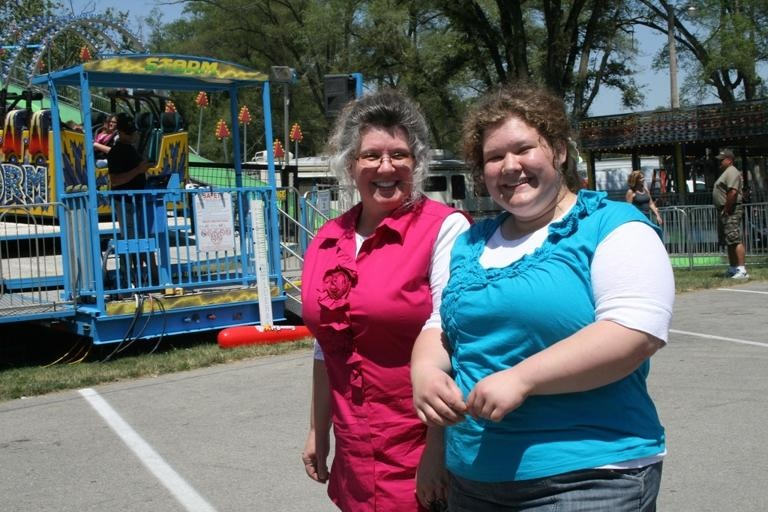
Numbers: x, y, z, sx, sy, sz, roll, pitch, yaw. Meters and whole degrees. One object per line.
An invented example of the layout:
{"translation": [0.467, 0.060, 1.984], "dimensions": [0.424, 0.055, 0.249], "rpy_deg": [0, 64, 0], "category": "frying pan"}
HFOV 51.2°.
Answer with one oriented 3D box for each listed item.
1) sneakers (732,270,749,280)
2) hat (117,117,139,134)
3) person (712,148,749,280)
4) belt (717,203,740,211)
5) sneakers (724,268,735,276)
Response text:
{"translation": [7.046, 0.397, 15.816], "dimensions": [0.145, 0.196, 0.444], "rpy_deg": [-3, -5, 44], "category": "sneakers"}
{"translation": [-3.710, -1.876, 11.480], "dimensions": [0.210, 0.270, 0.276], "rpy_deg": [8, -16, 11], "category": "hat"}
{"translation": [6.879, -0.825, 15.869], "dimensions": [0.661, 2.526, 0.983], "rpy_deg": [1, 10, 24], "category": "person"}
{"translation": [6.689, -0.949, 15.597], "dimensions": [0.462, 0.147, 0.300], "rpy_deg": [1, 10, 24], "category": "belt"}
{"translation": [6.957, 0.337, 16.140], "dimensions": [0.122, 0.155, 0.372], "rpy_deg": [-4, -9, 25], "category": "sneakers"}
